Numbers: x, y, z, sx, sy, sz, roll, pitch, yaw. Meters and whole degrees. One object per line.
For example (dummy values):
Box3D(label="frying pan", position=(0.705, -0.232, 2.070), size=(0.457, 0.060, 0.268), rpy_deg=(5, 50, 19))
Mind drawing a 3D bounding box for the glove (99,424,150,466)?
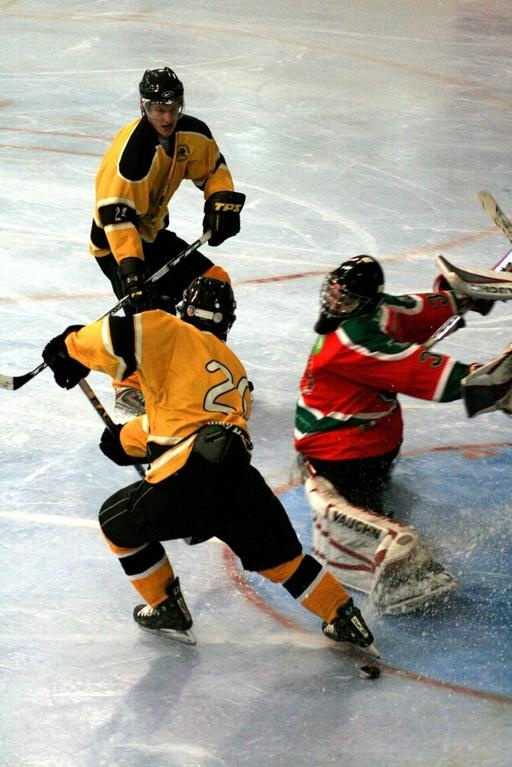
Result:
Box3D(label="glove", position=(-0.402, 0.192, 2.374), size=(0.121, 0.149, 0.106), rpy_deg=(32, 68, -8))

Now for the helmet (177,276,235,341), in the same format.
Box3D(label="helmet", position=(-0.134, -0.191, 2.234), size=(0.153, 0.179, 0.164), rpy_deg=(19, 72, -4))

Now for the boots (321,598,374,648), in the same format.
Box3D(label="boots", position=(0.228, 0.619, 2.099), size=(0.077, 0.115, 0.124), rpy_deg=(-33, 58, -31))

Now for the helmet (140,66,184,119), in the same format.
Box3D(label="helmet", position=(-0.335, -1.072, 3.032), size=(0.156, 0.150, 0.169), rpy_deg=(-6, -6, -21))

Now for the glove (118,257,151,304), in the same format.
Box3D(label="glove", position=(-0.441, -0.377, 2.983), size=(0.125, 0.074, 0.181), rpy_deg=(-17, 47, 0))
